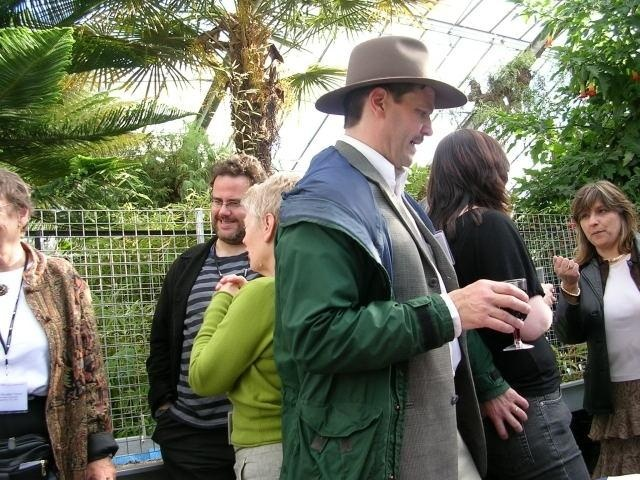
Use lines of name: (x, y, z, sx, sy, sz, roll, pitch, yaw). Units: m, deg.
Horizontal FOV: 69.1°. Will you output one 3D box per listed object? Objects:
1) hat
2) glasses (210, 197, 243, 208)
hat: (0.259, -0.651, 1.732, 0.397, 0.169, 0.335, -3, 0, 6)
glasses: (-0.573, -0.199, 2.888, 0.093, 0.031, 0.104, -2, -32, 6)
